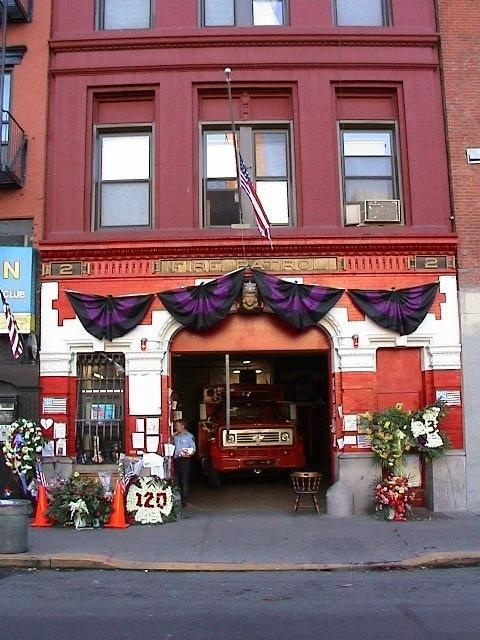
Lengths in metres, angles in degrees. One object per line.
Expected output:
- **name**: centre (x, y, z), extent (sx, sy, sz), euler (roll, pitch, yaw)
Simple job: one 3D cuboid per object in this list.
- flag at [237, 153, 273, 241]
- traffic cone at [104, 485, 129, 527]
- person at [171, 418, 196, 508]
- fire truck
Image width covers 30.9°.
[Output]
- **flag**: centre (0.252, -2.228, 15.875), extent (0.544, 1.732, 1.334), euler (-3, -10, 2)
- **traffic cone**: centre (-2.036, 3.086, 14.425), extent (0.347, 0.740, 0.302), euler (-1, -11, -10)
- **person**: centre (-1.115, 2.666, 16.710), extent (0.586, 1.450, 0.515), euler (2, -1, 0)
- **fire truck**: centre (0.486, 2.534, 19.872), extent (2.474, 2.725, 2.745), euler (0, -4, -4)
